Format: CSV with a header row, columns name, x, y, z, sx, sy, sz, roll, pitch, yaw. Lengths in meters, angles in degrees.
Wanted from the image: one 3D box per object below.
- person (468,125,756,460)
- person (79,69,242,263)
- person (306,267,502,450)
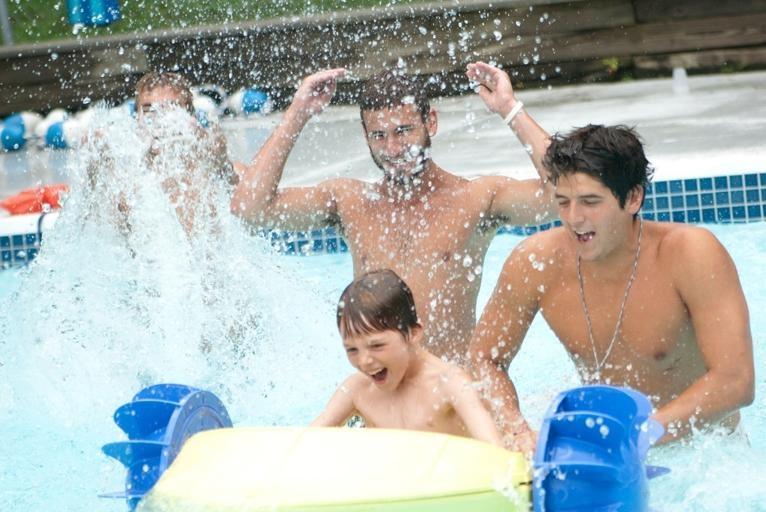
name,x,y,z,sx,sy,sz,roll,pitch,yaw
person,0.927,0.109,3.636,1.107,1.255,0.482,-3,13,15
person,-1.083,-0.564,4.737,0.482,0.852,0.421,-2,13,20
person,0.093,0.430,3.641,0.782,0.681,0.308,-2,13,22
